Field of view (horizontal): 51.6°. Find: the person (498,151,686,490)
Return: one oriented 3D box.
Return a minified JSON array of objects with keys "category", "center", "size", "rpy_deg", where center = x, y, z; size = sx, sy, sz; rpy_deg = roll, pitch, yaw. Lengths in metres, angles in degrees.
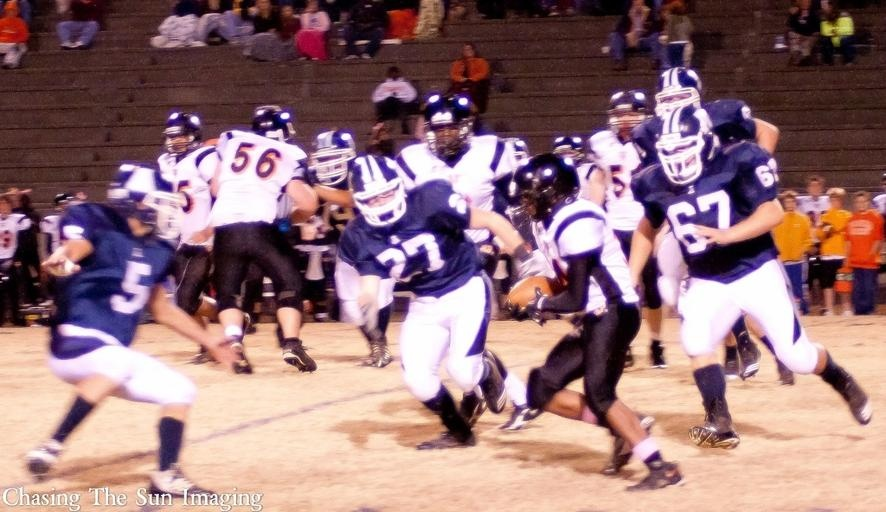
[{"category":"person","center":[1.272,0.522,7.895],"size":[1.282,2.817,0.629],"rpy_deg":[0,6,18]}]

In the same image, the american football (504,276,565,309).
[{"category":"american football","center":[0.799,0.320,7.965],"size":[0.442,0.138,0.274],"rpy_deg":[-3,-27,-13]}]

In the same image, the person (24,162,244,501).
[{"category":"person","center":[-2.655,0.609,7.585],"size":[1.414,2.735,0.755],"rpy_deg":[-3,6,-12]}]

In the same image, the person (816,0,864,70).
[{"category":"person","center":[7.570,-4.251,17.540],"size":[0.704,1.144,0.777],"rpy_deg":[0,6,20]}]
